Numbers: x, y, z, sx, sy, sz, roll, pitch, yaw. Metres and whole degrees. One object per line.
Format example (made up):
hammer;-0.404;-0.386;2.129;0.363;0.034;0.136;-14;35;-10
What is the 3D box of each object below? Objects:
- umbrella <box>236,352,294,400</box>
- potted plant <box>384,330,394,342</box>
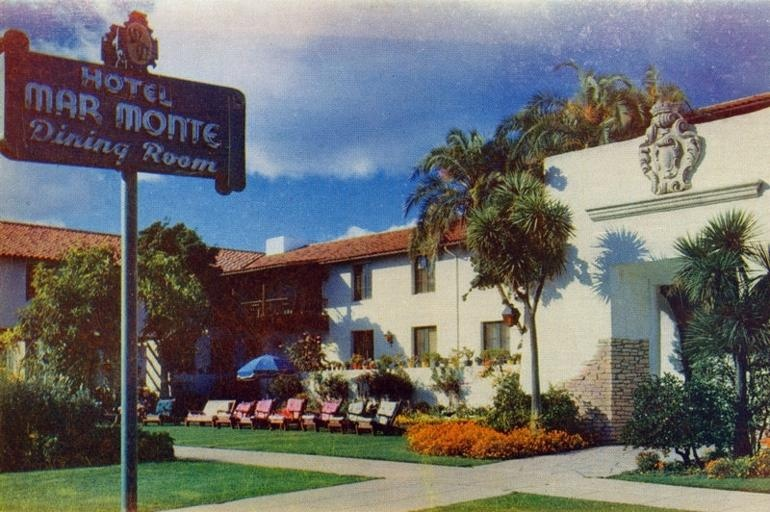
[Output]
umbrella;-4.952;4.636;40.748;2.154;0.990;1.125;-1;5;0
potted plant;0.191;3.694;44.817;0.399;0.520;0.526;-4;6;-28
